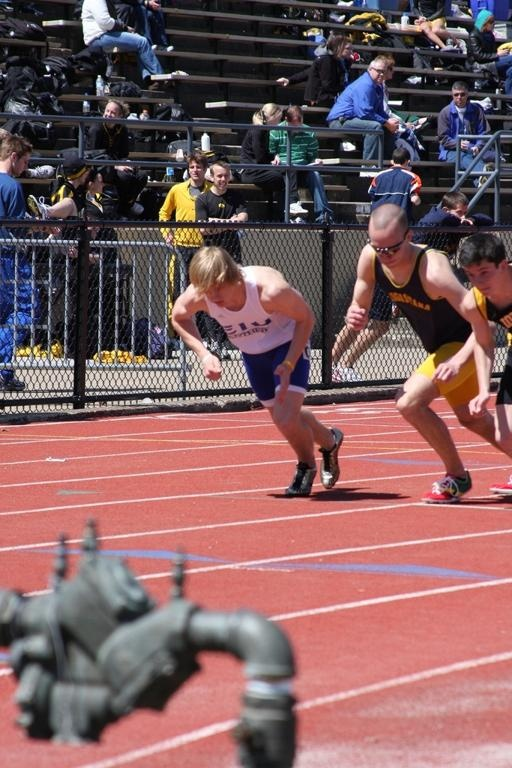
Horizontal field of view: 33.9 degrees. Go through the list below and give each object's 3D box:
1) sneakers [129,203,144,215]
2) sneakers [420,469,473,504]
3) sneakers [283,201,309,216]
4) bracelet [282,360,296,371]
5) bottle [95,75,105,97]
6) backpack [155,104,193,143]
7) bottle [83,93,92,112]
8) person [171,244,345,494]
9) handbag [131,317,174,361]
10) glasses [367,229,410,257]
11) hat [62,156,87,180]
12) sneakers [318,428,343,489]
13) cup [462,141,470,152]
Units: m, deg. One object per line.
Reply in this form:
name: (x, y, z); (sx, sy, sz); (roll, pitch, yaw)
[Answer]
sneakers: (-1.785, -2.609, 12.603); (0.179, 0.219, 0.265); (0, 3, -8)
sneakers: (1.297, 0.706, 5.688); (0.388, 0.140, 0.158); (-16, 22, -37)
sneakers: (0.716, -2.939, 14.235); (0.219, 0.206, 0.417); (3, 4, 34)
bracelet: (0.216, -0.113, 5.410); (0.074, 0.025, 0.071); (19, 8, -33)
bottle: (-2.809, -5.356, 15.198); (0.148, 0.403, 0.286); (0, 3, -9)
backpack: (-1.589, -4.788, 15.695); (0.675, 0.716, 0.298); (0, 3, -8)
bottle: (-2.953, -4.875, 14.724); (0.131, 0.402, 0.483); (0, 3, -10)
person: (0.010, -0.018, 5.695); (0.733, 1.653, 1.429); (4, 5, 45)
handbag: (-1.322, -0.544, 10.733); (0.432, 0.539, 0.222); (-15, 5, -30)
glasses: (0.829, -0.872, 5.242); (0.238, 0.177, 0.186); (1, 3, 5)
hat: (-2.331, -2.754, 10.832); (0.314, 0.287, 0.206); (0, 3, -11)
sneakers: (0.553, 0.527, 6.147); (0.165, 0.449, 0.218); (6, 3, 27)
cup: (4.132, -4.670, 16.587); (0.262, 0.197, 0.110); (-2, 4, -43)
